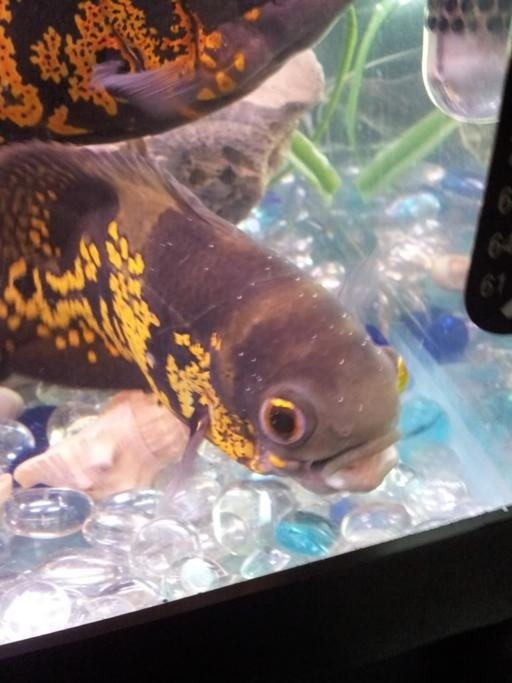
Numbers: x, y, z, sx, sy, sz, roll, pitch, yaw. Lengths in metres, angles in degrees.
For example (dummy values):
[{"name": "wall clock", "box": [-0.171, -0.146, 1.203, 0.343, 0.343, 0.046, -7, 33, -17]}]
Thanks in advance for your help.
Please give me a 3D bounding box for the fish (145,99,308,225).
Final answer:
[{"name": "fish", "box": [-0.035, -0.214, 0.814, 0.160, 0.152, 0.051, -35, -4, 3]}]
